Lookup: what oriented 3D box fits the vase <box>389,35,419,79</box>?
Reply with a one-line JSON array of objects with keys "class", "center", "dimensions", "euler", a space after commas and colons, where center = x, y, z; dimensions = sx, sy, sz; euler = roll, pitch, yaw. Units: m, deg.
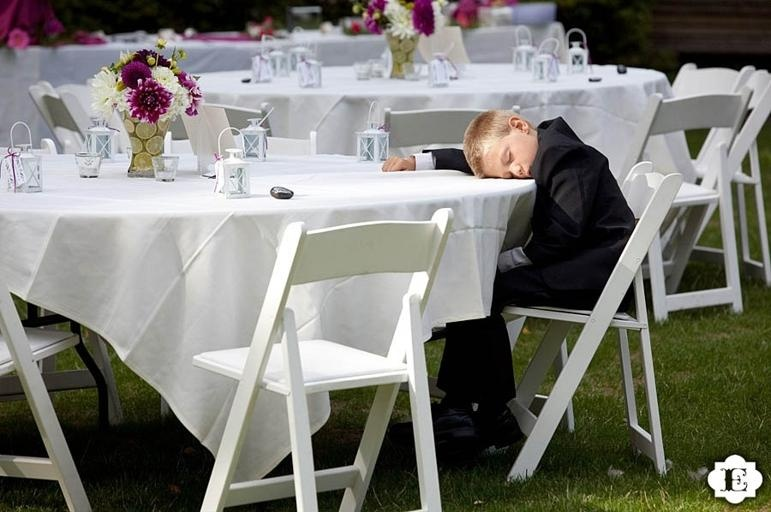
[{"class": "vase", "center": [0.117, -1.452, 7.450], "dimensions": [0.244, 0.341, 0.285], "euler": [8, 15, 12]}]

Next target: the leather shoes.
[{"class": "leather shoes", "center": [0.343, 0.770, 4.636], "dimensions": [0.601, 0.248, 0.289], "euler": [1, 48, -14]}]

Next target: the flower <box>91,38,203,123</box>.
[{"class": "flower", "center": [-1.061, -0.731, 4.702], "dimensions": [0.366, 0.227, 0.414], "euler": [6, 61, -6]}]

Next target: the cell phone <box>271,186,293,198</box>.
[{"class": "cell phone", "center": [-0.422, -0.266, 4.265], "dimensions": [0.096, 0.044, 0.104], "euler": [-3, 19, -7]}]

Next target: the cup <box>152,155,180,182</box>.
[{"class": "cup", "center": [-0.966, -0.392, 4.600], "dimensions": [0.103, 0.106, 0.120], "euler": [0, -3, -15]}]

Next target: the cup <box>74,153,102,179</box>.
[{"class": "cup", "center": [-1.349, -0.415, 4.729], "dimensions": [0.100, 0.100, 0.104], "euler": [-2, 8, 0]}]
